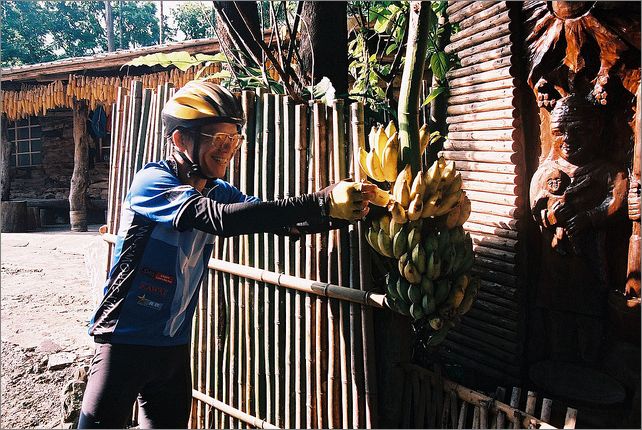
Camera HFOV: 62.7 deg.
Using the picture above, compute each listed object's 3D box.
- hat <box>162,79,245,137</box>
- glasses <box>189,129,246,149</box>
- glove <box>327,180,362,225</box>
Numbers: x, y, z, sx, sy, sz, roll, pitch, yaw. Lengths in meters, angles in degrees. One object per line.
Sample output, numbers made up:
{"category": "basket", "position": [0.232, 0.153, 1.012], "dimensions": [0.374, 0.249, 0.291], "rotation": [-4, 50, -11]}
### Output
{"category": "hat", "position": [-0.890, -0.787, 3.805], "dimensions": [0.628, 0.441, 0.505], "rotation": [-1, 11, 20]}
{"category": "glasses", "position": [-0.682, -0.507, 3.609], "dimensions": [0.306, 0.113, 0.080], "rotation": [-1, 2, -20]}
{"category": "glove", "position": [0.155, -0.088, 3.171], "dimensions": [0.208, 0.235, 0.115], "rotation": [0, 2, 1]}
